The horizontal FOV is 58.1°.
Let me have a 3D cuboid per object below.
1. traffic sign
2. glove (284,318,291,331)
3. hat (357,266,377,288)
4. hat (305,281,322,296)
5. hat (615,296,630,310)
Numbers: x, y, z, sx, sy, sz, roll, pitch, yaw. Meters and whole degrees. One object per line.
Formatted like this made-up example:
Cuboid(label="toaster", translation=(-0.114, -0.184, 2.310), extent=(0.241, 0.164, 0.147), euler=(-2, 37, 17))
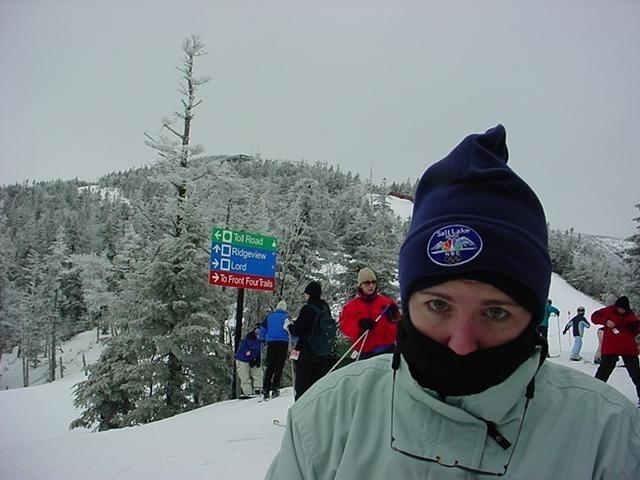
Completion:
Cuboid(label="traffic sign", translation=(-1.915, 0.455, 13.939), extent=(2.058, 1.640, 0.018), euler=(8, -10, -44))
Cuboid(label="glove", translation=(-0.522, 1.331, 9.087), extent=(0.141, 0.171, 0.124), euler=(1, 4, -3))
Cuboid(label="hat", translation=(0.680, 0.536, 8.509), extent=(0.239, 0.278, 0.268), euler=(1, 10, -42))
Cuboid(label="hat", translation=(-0.120, 0.773, 9.220), extent=(0.218, 0.230, 0.203), euler=(12, -12, 41))
Cuboid(label="hat", translation=(5.446, 1.158, 10.341), extent=(0.219, 0.248, 0.324), euler=(22, -4, 23))
